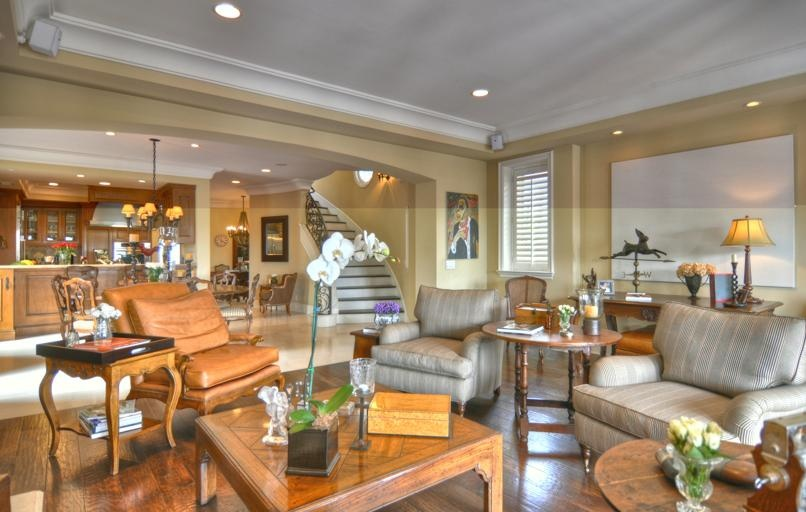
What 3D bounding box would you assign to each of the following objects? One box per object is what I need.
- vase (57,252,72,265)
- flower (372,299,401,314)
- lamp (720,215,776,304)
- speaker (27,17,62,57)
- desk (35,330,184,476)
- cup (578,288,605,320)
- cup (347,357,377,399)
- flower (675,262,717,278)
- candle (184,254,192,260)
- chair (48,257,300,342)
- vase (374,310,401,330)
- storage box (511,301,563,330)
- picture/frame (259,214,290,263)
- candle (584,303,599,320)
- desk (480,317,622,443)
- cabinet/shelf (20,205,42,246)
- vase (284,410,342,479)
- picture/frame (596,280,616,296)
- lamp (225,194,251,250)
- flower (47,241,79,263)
[{"bbox_3d":[-6.880,0.039,10.360,0.330,0.299,0.288,1,0,-24],"label":"vase"},{"bbox_3d":[-0.177,0.651,6.399,0.356,0.201,0.481,1,-4,6],"label":"flower"},{"bbox_3d":[3.921,0.032,5.800,0.452,1.008,0.604,0,2,35],"label":"lamp"},{"bbox_3d":[-3.429,-2.123,4.874,0.264,0.338,0.190,22,3,7],"label":"speaker"},{"bbox_3d":[-2.717,1.362,4.984,1.264,1.282,1.239,0,-2,30],"label":"desk"},{"bbox_3d":[1.802,0.447,4.910,0.327,0.303,0.246,0,1,21],"label":"cup"},{"bbox_3d":[-0.316,0.948,3.977,0.281,0.279,0.265,1,-1,0],"label":"cup"},{"bbox_3d":[3.534,0.165,6.111,0.354,0.175,0.449,0,1,35],"label":"flower"},{"bbox_3d":[-3.839,0.015,9.065,0.187,0.129,0.181,0,-1,-3],"label":"candle"},{"bbox_3d":[-3.757,1.108,8.770,3.640,1.255,1.156,3,8,-3],"label":"chair"},{"bbox_3d":[-0.194,0.765,6.029,0.232,0.159,0.237,0,-7,-3],"label":"vase"},{"bbox_3d":[1.360,0.598,5.139,0.385,0.230,0.282,-3,-5,43],"label":"storage box"},{"bbox_3d":[-2.936,-0.418,11.792,1.212,1.326,0.092,-2,-5,40],"label":"picture/frame"},{"bbox_3d":[1.798,0.541,4.858,0.133,0.118,0.130,-1,3,-30],"label":"candle"},{"bbox_3d":[1.505,1.153,5.090,1.212,0.826,1.162,1,-1,-9],"label":"desk"},{"bbox_3d":[-8.685,-0.752,11.918,0.334,0.832,0.140,-2,2,-34],"label":"cabinet/shelf"},{"bbox_3d":[-0.573,1.297,3.628,0.481,0.424,0.365,0,-5,1],"label":"vase"},{"bbox_3d":[2.529,0.400,6.347,0.182,0.163,0.100,-1,-7,1],"label":"picture/frame"},{"bbox_3d":[-4.978,-1.017,15.376,0.576,1.440,1.530,-1,1,-19],"label":"lamp"},{"bbox_3d":[-7.467,-0.086,11.168,0.527,0.469,0.509,1,-3,11],"label":"flower"}]
